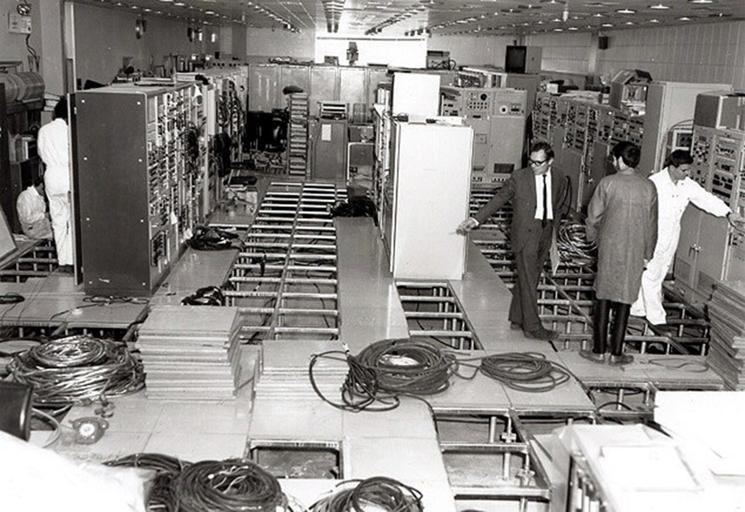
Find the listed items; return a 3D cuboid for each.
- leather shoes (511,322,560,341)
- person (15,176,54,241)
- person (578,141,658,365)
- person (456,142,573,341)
[{"bbox_3d":[1.683,0.814,6.142,0.528,0.229,0.184,-4,12,6],"label":"leather shoes"},{"bbox_3d":[-4.871,-0.746,8.589,0.693,0.883,0.615,0,15,-32],"label":"person"},{"bbox_3d":[2.279,-0.010,5.444,0.611,2.006,0.590,10,22,26],"label":"person"},{"bbox_3d":[1.552,-0.170,6.021,0.863,1.950,0.574,5,21,14],"label":"person"}]
